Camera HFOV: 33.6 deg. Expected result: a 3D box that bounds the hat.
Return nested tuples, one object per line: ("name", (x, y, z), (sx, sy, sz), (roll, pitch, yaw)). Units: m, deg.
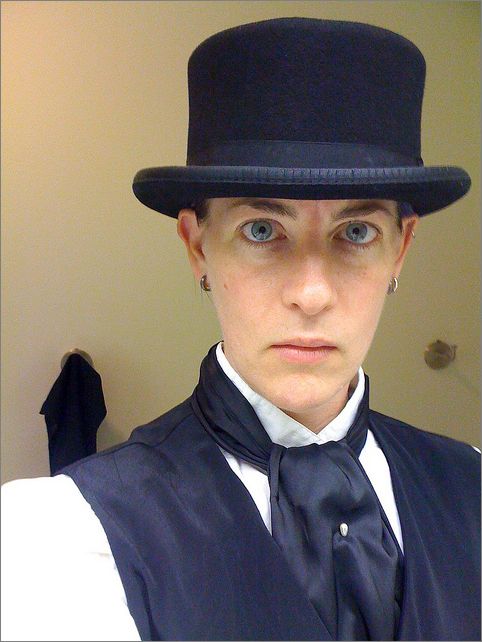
("hat", (0.087, -0.241, 1.083), (0.434, 0.237, 0.441), (0, -2, 1))
